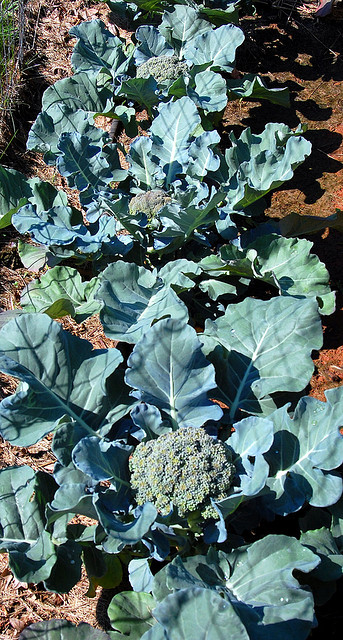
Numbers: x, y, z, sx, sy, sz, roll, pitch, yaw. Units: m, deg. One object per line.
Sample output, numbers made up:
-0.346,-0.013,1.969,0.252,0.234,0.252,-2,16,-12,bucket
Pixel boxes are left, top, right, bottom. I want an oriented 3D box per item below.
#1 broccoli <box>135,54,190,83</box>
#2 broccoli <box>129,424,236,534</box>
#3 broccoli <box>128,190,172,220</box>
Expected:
-0.055,-1.476,2.983,0.292,0.099,0.287,-33,46,-27,broccoli
0.030,0.449,1.507,0.291,0.273,0.322,6,32,3,broccoli
-0.098,-0.529,2.326,0.199,0.108,0.103,-12,26,1,broccoli
